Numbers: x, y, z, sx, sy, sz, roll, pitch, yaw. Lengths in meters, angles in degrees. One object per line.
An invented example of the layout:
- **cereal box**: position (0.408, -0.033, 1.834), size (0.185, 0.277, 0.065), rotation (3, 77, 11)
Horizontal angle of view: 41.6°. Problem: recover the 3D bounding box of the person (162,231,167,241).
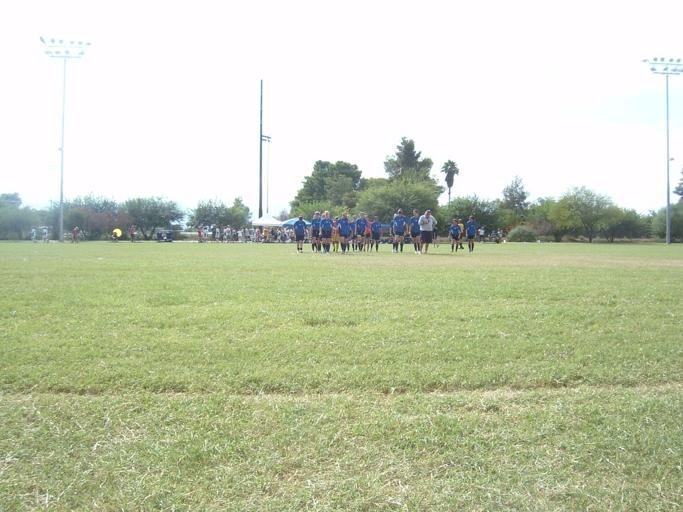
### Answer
- **person**: position (-12.819, -1.374, 65.057), size (0.567, 0.640, 1.068), rotation (3, 4, -12)
